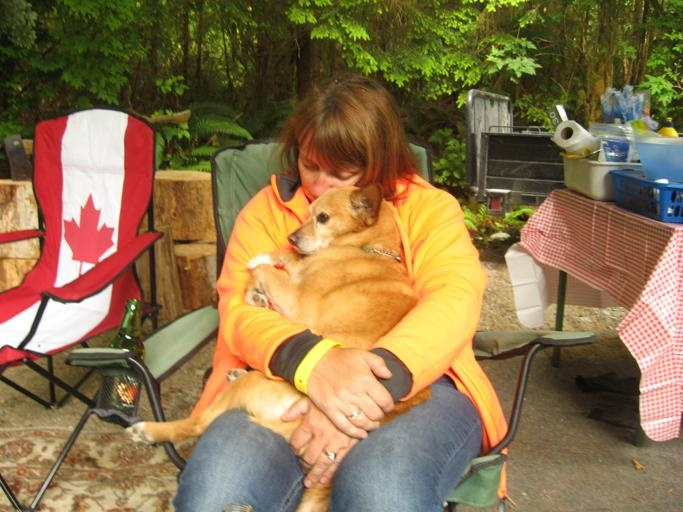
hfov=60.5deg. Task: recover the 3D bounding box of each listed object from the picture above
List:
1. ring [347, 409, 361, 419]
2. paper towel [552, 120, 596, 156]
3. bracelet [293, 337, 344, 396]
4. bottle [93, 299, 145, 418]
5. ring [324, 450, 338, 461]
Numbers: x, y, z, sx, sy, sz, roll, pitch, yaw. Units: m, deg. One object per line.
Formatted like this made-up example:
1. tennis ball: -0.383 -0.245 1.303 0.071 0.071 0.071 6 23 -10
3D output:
1. ring: 0.053 0.602 2.221 0.012 0.030 0.029 46 33 24
2. paper towel: 1.486 -0.756 3.746 0.161 0.194 0.327 52 19 13
3. bracelet: -0.121 0.411 2.330 0.138 0.208 0.210 22 12 -27
4. bottle: -1.005 0.465 2.655 0.198 0.452 0.454 -2 9 -19
5. ring: -0.040 0.762 2.228 0.042 0.016 0.037 29 -23 14
